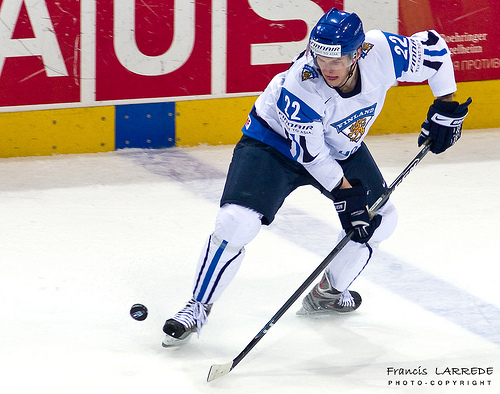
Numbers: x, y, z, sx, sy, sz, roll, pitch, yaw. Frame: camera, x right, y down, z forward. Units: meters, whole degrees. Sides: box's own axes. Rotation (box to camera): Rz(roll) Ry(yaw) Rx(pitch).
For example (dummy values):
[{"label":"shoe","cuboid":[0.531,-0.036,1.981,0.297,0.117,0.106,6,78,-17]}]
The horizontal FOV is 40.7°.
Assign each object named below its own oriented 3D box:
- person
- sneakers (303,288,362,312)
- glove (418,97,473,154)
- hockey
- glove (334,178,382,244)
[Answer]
[{"label":"person","cuboid":[0.311,-0.073,2.842,1.200,1.386,0.554,5,18,-7]},{"label":"sneakers","cuboid":[0.366,0.474,3.088,0.316,0.090,0.128,-10,-5,1]},{"label":"glove","cuboid":[0.867,-0.322,3.072,0.191,0.290,0.113,-14,50,-45]},{"label":"hockey","cuboid":[0.307,0.314,3.008,0.078,1.516,0.206,52,-10,11]},{"label":"glove","cuboid":[0.435,0.073,2.806,0.110,0.231,0.237,-30,13,4]}]
